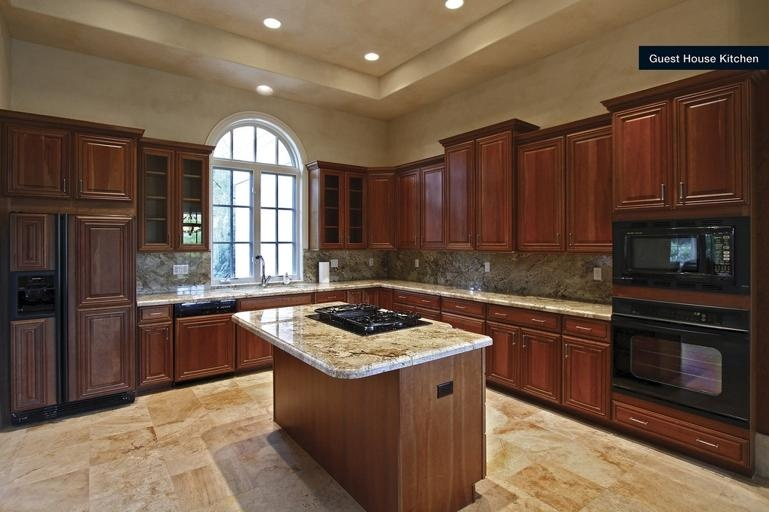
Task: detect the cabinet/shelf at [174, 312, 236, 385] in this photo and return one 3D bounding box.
[{"bbox_3d":[-2.143,1.098,5.930,0.704,0.597,0.169,-3,2,-17],"label":"cabinet/shelf"}]

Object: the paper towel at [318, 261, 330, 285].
[{"bbox_3d":[-0.899,0.232,7.297,0.165,0.310,0.127,-3,2,-16],"label":"paper towel"}]

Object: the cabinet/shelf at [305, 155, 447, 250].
[{"bbox_3d":[-0.361,-0.733,7.242,1.530,0.893,1.496,2,-5,-34],"label":"cabinet/shelf"}]

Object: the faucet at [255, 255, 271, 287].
[{"bbox_3d":[-1.695,0.197,6.906,0.163,0.286,0.271,-2,2,17],"label":"faucet"}]

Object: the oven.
[{"bbox_3d":[2.694,1.006,4.838,1.234,1.047,0.801,10,-17,7],"label":"oven"}]
